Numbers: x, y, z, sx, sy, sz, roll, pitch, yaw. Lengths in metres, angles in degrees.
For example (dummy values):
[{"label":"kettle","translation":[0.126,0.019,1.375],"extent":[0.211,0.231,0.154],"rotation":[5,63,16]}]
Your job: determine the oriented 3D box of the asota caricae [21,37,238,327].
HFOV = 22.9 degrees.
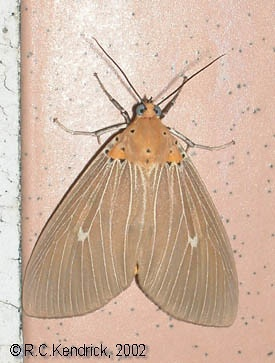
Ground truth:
[{"label":"asota caricae","translation":[-0.005,0.081,1.713],"extent":[0.540,0.202,0.503],"rotation":[4,70,-5]}]
